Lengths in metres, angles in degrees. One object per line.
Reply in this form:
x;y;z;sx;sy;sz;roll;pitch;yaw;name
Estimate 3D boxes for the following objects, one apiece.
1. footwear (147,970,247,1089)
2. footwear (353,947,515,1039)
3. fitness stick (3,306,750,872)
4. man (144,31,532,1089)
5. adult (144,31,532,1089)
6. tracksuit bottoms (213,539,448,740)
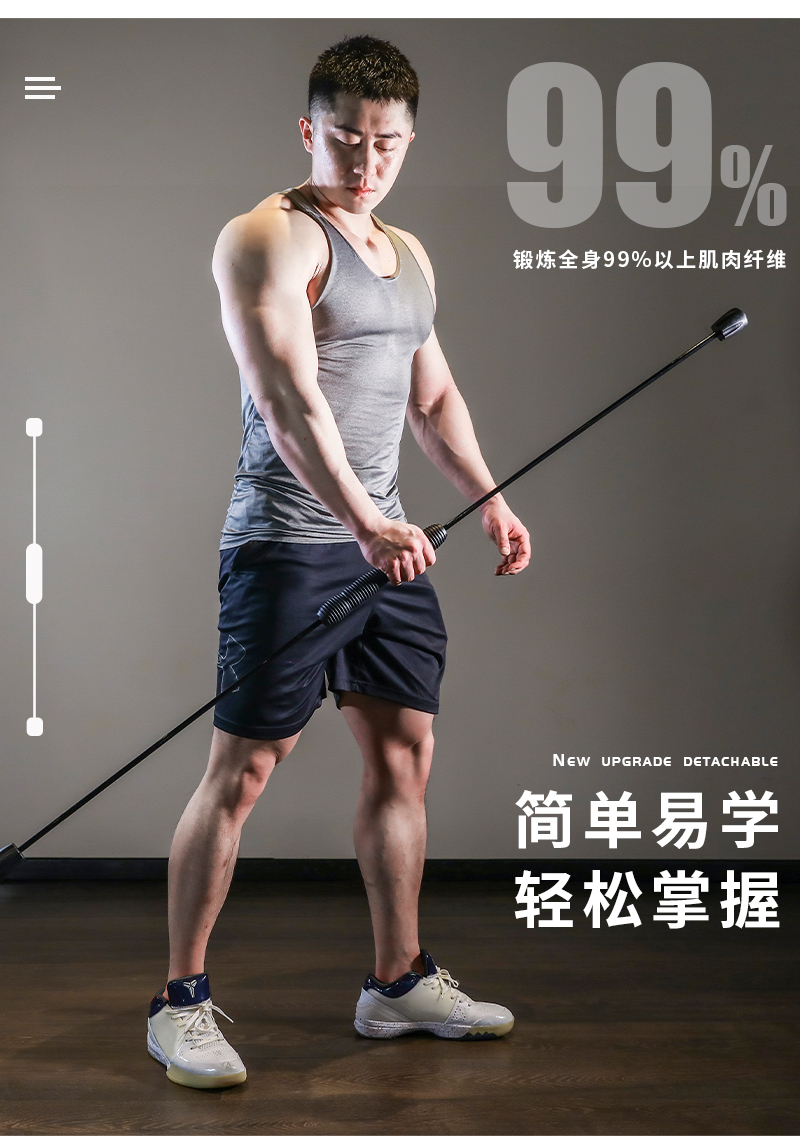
-0.275;0.622;1.650;0.077;0.093;0.190;3;-3;-32;footwear
0.036;0.619;1.760;0.272;0.119;0.086;1;-9;1;footwear
-0.020;-0.003;1.780;1.408;0.071;0.097;-33;24;0;fitness stick
-0.036;-0.033;1.679;0.503;1.429;0.314;5;5;-9;man
-0.036;-0.033;1.679;0.503;1.429;0.314;5;5;-9;adult
-0.089;0.100;1.748;0.342;0.262;0.192;1;-6;-23;tracksuit bottoms
